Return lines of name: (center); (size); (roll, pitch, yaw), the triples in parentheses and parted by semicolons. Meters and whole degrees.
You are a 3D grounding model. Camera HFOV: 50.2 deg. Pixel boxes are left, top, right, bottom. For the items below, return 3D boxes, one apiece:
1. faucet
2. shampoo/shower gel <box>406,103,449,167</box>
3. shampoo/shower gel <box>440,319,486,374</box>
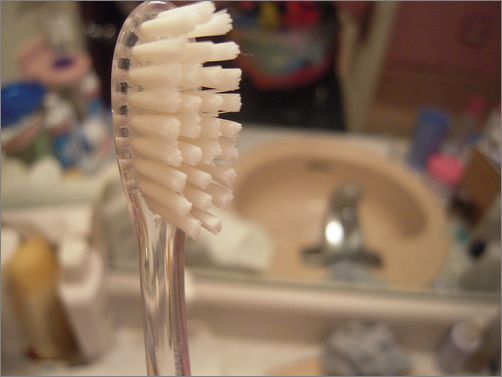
faucet: (0.124, 0.051, 0.735); (0.113, 0.035, 0.123); (4, 93, 9)
shampoo/shower gel: (0.233, -0.075, 0.713); (0.042, 0.043, 0.083); (16, 116, 12)
shampoo/shower gel: (0.281, 0.216, 0.742); (0.048, 0.030, 0.078); (40, 93, 6)
